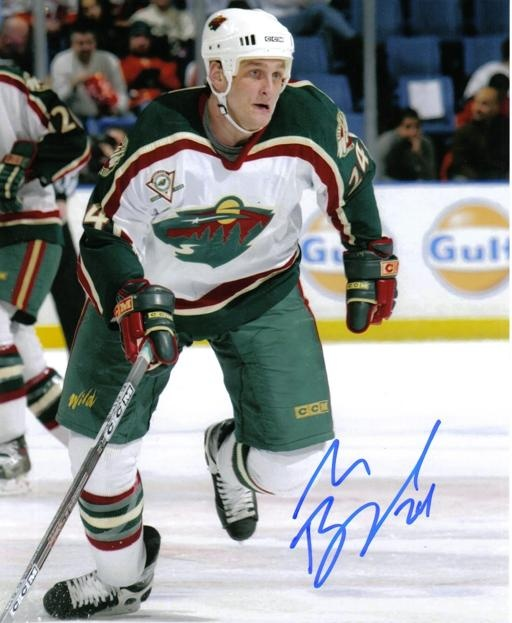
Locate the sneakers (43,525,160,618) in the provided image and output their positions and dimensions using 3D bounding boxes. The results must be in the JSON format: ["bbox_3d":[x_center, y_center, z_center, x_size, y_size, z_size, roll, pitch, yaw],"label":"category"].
[{"bbox_3d":[-0.412,0.666,2.324,0.378,0.216,0.108,0,32,-13],"label":"sneakers"}]

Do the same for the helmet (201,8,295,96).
[{"bbox_3d":[-0.013,-0.636,2.179,0.207,0.211,0.262,-7,9,-42],"label":"helmet"}]

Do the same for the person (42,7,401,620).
[{"bbox_3d":[-0.134,0.006,2.317,0.862,1.506,0.526,-10,14,-41],"label":"person"}]

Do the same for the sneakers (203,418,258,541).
[{"bbox_3d":[-0.081,0.511,2.684,0.150,0.370,0.166,-17,7,-5],"label":"sneakers"}]

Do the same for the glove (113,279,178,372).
[{"bbox_3d":[-0.248,0.028,1.993,0.137,0.196,0.151,-3,10,-8],"label":"glove"}]
